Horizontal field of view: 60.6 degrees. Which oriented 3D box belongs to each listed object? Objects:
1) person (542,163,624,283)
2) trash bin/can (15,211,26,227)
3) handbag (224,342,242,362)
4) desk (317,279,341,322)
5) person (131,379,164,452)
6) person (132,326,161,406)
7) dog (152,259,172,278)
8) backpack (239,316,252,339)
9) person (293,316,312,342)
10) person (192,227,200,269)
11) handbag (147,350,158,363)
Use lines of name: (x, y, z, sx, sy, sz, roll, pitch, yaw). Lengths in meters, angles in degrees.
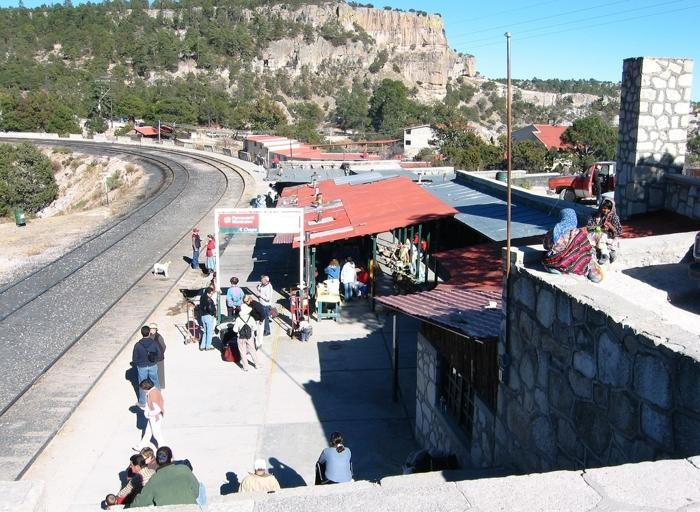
person: (3.172, -0.270, 8.147, 0.978, 1.046, 1.816, 1, 27, 12)
trash bin/can: (-22.892, -2.608, 41.834, 0.610, 1.065, 1.897, -7, 14, -29)
handbag: (-3.085, 2.556, 15.959, 0.440, 0.492, 0.448, 0, -1, 1)
desk: (-0.639, 1.596, 18.387, 0.895, 1.344, 1.360, -1, 10, -3)
person: (-4.026, 3.072, 12.021, 0.569, 1.506, 1.567, -4, 13, -20)
person: (-4.588, 2.455, 13.668, 0.553, 1.748, 0.560, -6, 15, -23)
dog: (-7.759, 0.528, 24.668, 0.663, 0.550, 1.258, -4, 13, -19)
backpack: (-2.543, 1.790, 14.970, 0.441, 0.678, 0.338, -1, 12, -11)
person: (-1.344, 2.092, 17.327, 0.526, 0.532, 0.967, -5, 13, -23)
person: (-6.575, -0.319, 25.588, 0.349, 1.758, 1.396, -4, 12, -18)
handbag: (-4.392, 2.265, 13.446, 0.237, 0.247, 0.175, 16, 14, 37)
